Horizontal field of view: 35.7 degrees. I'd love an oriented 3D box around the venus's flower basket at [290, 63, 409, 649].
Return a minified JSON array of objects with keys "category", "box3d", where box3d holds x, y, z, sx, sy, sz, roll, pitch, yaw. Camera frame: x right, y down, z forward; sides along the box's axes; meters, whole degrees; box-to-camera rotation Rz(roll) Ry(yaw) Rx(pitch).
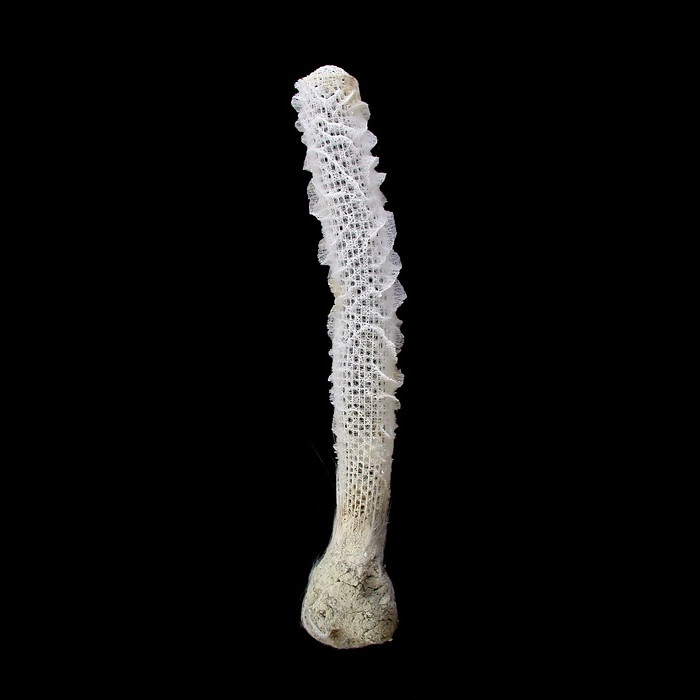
[{"category":"venus's flower basket","box3d":[-0.023,0.064,5.332,0.558,2.772,0.578,-1,2,-27]}]
